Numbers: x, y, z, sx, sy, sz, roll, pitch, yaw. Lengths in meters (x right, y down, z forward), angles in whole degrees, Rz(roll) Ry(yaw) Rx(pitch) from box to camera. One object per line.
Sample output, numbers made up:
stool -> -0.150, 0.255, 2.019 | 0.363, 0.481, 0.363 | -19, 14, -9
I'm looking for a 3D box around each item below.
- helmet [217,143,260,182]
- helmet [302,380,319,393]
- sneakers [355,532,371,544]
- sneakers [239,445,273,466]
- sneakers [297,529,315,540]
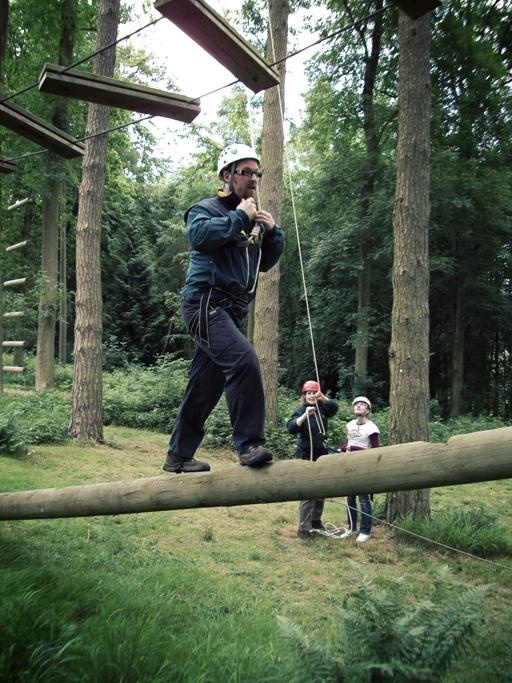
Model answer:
helmet -> -0.139, -1.121, 4.223 | 0.263, 0.189, 0.183 | -13, 5, -6
helmet -> 0.561, 0.479, 6.924 | 0.167, 0.097, 0.212 | -1, -11, 0
sneakers -> 1.202, 2.213, 7.633 | 0.177, 0.059, 0.069 | 20, 12, -48
sneakers -> -0.005, 0.658, 3.843 | 0.088, 0.083, 0.218 | 14, -16, -22
sneakers -> 0.564, 2.210, 7.750 | 0.171, 0.098, 0.085 | -2, -9, 6
